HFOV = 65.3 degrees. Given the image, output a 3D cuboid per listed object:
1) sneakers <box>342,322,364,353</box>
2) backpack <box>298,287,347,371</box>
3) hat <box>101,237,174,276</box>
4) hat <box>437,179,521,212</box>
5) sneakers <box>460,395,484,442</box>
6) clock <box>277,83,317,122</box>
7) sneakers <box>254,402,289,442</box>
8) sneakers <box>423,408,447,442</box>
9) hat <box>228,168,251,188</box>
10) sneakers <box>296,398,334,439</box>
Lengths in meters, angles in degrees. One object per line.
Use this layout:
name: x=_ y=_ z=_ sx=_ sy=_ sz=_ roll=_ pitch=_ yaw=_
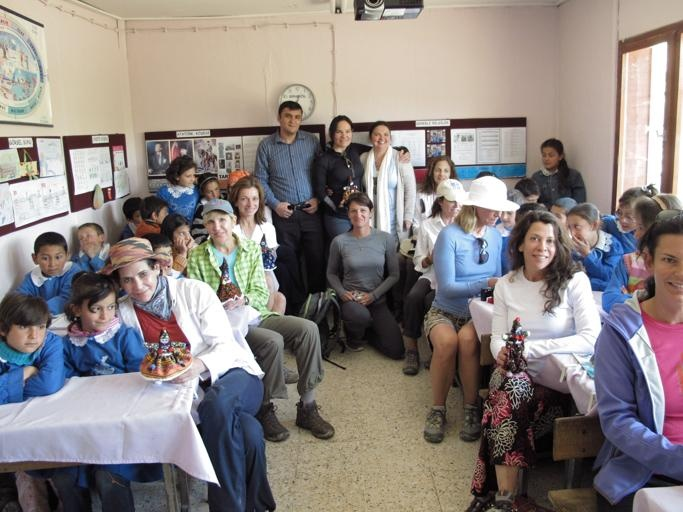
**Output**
sneakers: x=0.101 y=0.707 z=4.598 sx=0.251 sy=0.245 sz=0.163 roll=-2 pitch=1 yaw=-1
backpack: x=-0.121 y=0.543 z=4.419 sx=0.586 sy=0.595 sz=0.420 roll=3 pitch=9 yaw=-1
hat: x=-1.010 y=-0.014 z=2.725 sx=0.201 sy=0.177 sz=0.349 roll=4 pitch=14 yaw=31
hat: x=0.875 y=-0.439 z=3.612 sx=0.397 sy=0.155 sz=0.416 roll=4 pitch=11 yaw=-46
sneakers: x=0.810 y=1.008 z=3.325 sx=0.099 sy=0.121 sz=0.297 roll=2 pitch=31 yaw=14
clock: x=-0.454 y=-1.624 z=5.638 sx=0.364 sy=0.382 sz=0.354 roll=1 pitch=5 yaw=2
sneakers: x=-0.440 y=1.031 z=3.407 sx=0.115 sy=0.159 sz=0.324 roll=-13 pitch=18 yaw=-29
sneakers: x=0.582 y=1.051 z=3.283 sx=0.092 sy=0.091 sz=0.225 roll=1 pitch=4 yaw=8
hat: x=-0.969 y=-0.745 z=4.976 sx=0.275 sy=0.131 sz=0.391 roll=-3 pitch=9 yaw=0
sneakers: x=-0.132 y=1.029 z=3.461 sx=0.339 sy=0.172 sz=0.122 roll=15 pitch=23 yaw=42
